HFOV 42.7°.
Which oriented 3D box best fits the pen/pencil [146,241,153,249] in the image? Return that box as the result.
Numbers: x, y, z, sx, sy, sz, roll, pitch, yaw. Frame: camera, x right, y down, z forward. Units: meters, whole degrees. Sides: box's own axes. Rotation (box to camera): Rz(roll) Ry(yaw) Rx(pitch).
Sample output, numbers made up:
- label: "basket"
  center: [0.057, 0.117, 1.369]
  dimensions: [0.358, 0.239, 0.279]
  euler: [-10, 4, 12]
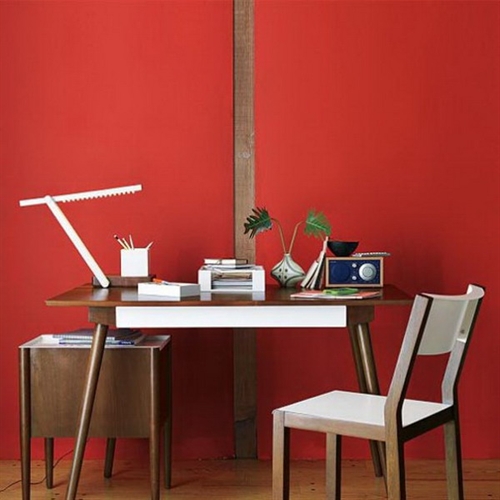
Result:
- label: "pen/pencil"
  center: [-0.422, -0.022, 2.672]
  dimensions: [0.024, 0.041, 0.016]
  euler: [19, 9, 23]

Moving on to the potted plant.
- label: "potted plant"
  center: [0.160, -0.018, 2.568]
  dimensions: [0.291, 0.278, 0.145]
  euler: [2, -3, -11]

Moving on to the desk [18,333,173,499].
- label: "desk"
  center: [-0.522, 0.546, 2.494]
  dimensions: [0.666, 0.750, 0.520]
  euler: [1, 0, 1]

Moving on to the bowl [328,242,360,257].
- label: "bowl"
  center: [0.353, 0.004, 2.469]
  dimensions: [0.071, 0.033, 0.074]
  euler: [0, -5, 0]
